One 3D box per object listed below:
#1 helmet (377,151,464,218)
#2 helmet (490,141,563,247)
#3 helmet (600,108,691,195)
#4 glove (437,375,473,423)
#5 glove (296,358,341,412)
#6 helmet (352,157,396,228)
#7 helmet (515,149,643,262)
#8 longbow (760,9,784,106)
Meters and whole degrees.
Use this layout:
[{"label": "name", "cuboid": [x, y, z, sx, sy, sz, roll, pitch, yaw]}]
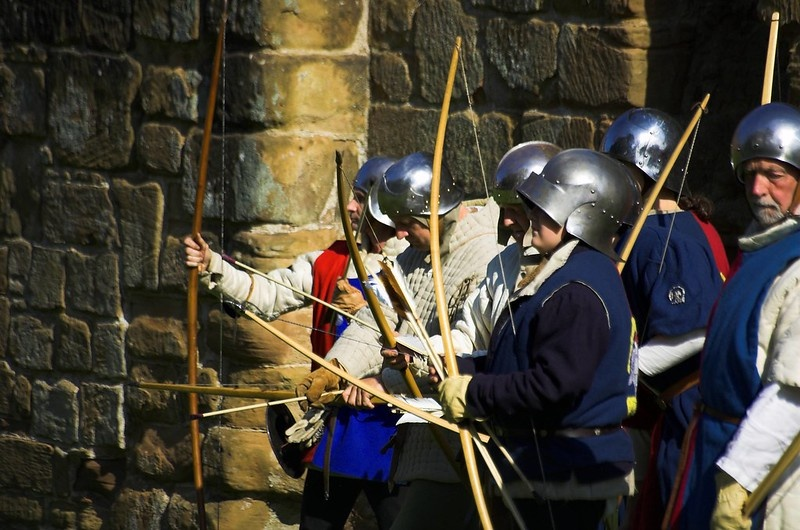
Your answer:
[{"label": "helmet", "cuboid": [0.142, -0.474, 11.826, 0.458, 0.282, 0.394, -16, 13, -24]}, {"label": "helmet", "cuboid": [0.736, -0.465, 11.817, 0.596, 0.618, 0.483, 1, -3, 1]}, {"label": "helmet", "cuboid": [1.513, -0.686, 11.921, 0.575, 0.445, 0.442, 5, 8, -12]}, {"label": "glove", "cuboid": [0.310, 0.760, 11.038, 0.197, 0.211, 0.251, 3, 1, 4]}, {"label": "glove", "cuboid": [-0.506, 0.744, 11.700, 0.302, 0.245, 0.475, -7, -12, -14]}, {"label": "helmet", "cuboid": [-0.171, -0.468, 12.341, 0.424, 0.407, 0.362, 1, 1, 8]}, {"label": "helmet", "cuboid": [1.047, -0.337, 10.966, 0.711, 0.549, 0.546, 4, 5, -5]}, {"label": "longbow", "cuboid": [2.243, -1.224, 11.748, 0.076, 0.638, 0.085, -15, 39, -18]}]
